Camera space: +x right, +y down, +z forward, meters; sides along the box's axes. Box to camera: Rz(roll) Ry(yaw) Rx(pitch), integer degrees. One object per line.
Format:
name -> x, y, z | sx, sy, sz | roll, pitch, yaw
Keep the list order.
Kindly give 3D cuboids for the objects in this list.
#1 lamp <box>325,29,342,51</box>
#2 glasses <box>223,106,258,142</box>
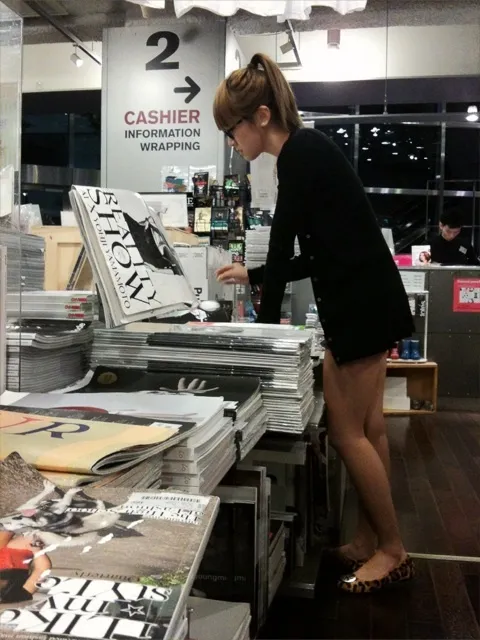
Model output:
lamp -> 0.983, -2.971, 5.833 | 0.157, 0.194, 0.164 | 1, 5, -2
glasses -> 0.001, -0.556, 1.544 | 0.074, 0.022, 0.070 | -46, 14, -11
